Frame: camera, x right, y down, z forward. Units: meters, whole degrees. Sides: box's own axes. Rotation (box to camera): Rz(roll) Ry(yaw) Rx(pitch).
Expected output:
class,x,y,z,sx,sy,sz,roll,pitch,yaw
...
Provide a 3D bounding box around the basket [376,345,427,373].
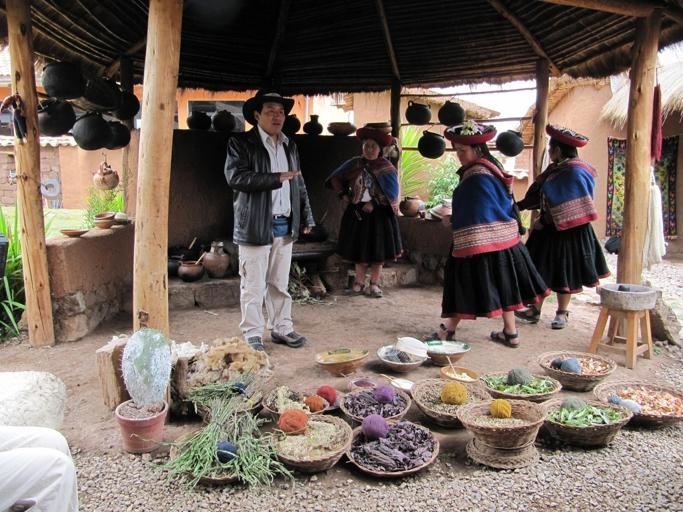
class,x,y,z,sx,sy,sz,roll,pitch,yaw
basket,0.520,0.904,4.408,0.434,0.216,0.318,-1,5,14

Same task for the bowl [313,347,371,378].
class,x,y,z,sx,sy,sz,roll,pitch,yaw
bowl,0.019,0.930,4.369,0.358,0.179,0.516,1,5,36

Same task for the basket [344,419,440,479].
class,x,y,z,sx,sy,sz,roll,pitch,yaw
basket,0.336,1.235,3.175,0.370,0.102,0.361,4,14,25

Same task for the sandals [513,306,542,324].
class,x,y,z,sx,sy,sz,roll,pitch,yaw
sandals,2.158,0.674,5.762,0.153,0.105,0.258,-1,10,-10

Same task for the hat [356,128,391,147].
class,x,y,z,sx,sy,sz,roll,pitch,yaw
hat,0.420,-1.509,6.365,0.437,0.256,0.278,-2,5,2

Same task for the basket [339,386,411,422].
class,x,y,z,sx,sy,sz,roll,pitch,yaw
basket,0.245,1.068,3.627,0.499,0.262,0.425,-1,4,4

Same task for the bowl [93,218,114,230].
class,x,y,z,sx,sy,sz,roll,pitch,yaw
bowl,-2.766,-0.371,5.882,0.194,0.112,0.173,-4,5,-27

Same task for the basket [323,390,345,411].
class,x,y,z,sx,sy,sz,roll,pitch,yaw
basket,-0.050,1.072,3.722,0.148,0.040,0.142,3,3,16

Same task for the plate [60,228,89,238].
class,x,y,z,sx,sy,sz,roll,pitch,yaw
plate,-2.812,-0.235,5.307,0.225,0.082,0.327,2,6,42

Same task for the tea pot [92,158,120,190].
class,x,y,z,sx,sy,sz,roll,pitch,yaw
tea pot,-3.349,-1.162,7.135,0.336,0.405,0.291,2,6,36

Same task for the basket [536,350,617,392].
class,x,y,z,sx,sy,sz,roll,pitch,yaw
basket,1.974,0.925,4.151,0.412,0.141,0.397,0,7,3

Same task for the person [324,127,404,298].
class,x,y,z,sx,sy,sz,roll,pitch,yaw
person,0.327,-0.519,6.550,0.860,2.189,0.470,-1,5,8

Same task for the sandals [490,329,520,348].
class,x,y,z,sx,sy,sz,roll,pitch,yaw
sandals,1.652,0.819,5.054,0.132,0.110,0.269,-1,12,-28

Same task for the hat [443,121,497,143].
class,x,y,z,sx,sy,sz,roll,pitch,yaw
hat,1.165,-1.089,4.479,0.306,0.132,0.296,3,8,18

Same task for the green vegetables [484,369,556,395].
class,x,y,z,sx,sy,sz,roll,pitch,yaw
green vegetables,1.356,0.977,3.831,0.265,0.085,0.260,-1,3,-2

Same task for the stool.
class,x,y,z,sx,sy,sz,roll,pitch,yaw
stool,2.623,0.740,4.663,0.480,0.561,0.454,-12,18,-40

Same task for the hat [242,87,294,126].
class,x,y,z,sx,sy,sz,roll,pitch,yaw
hat,-0.733,-1.366,4.571,0.417,0.140,0.385,-16,-19,37

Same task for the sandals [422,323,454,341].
class,x,y,z,sx,sy,sz,roll,pitch,yaw
sandals,0.948,0.750,4.980,0.317,0.122,0.161,1,2,2

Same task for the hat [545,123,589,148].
class,x,y,z,sx,sy,sz,roll,pitch,yaw
hat,2.259,-1.274,5.117,0.322,0.098,0.339,17,13,-12

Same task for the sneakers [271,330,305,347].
class,x,y,z,sx,sy,sz,roll,pitch,yaw
sneakers,-0.516,0.810,4.990,0.364,0.163,0.130,2,8,22

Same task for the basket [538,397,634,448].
class,x,y,z,sx,sy,sz,roll,pitch,yaw
basket,1.678,1.150,3.440,0.572,0.276,0.321,-1,5,7

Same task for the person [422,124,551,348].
class,x,y,z,sx,sy,sz,roll,pitch,yaw
person,1.338,-0.157,4.704,0.957,2.162,0.439,-3,5,-13

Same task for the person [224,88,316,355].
class,x,y,z,sx,sy,sz,roll,pitch,yaw
person,-0.659,-0.310,4.748,0.625,2.437,0.900,0,5,18
